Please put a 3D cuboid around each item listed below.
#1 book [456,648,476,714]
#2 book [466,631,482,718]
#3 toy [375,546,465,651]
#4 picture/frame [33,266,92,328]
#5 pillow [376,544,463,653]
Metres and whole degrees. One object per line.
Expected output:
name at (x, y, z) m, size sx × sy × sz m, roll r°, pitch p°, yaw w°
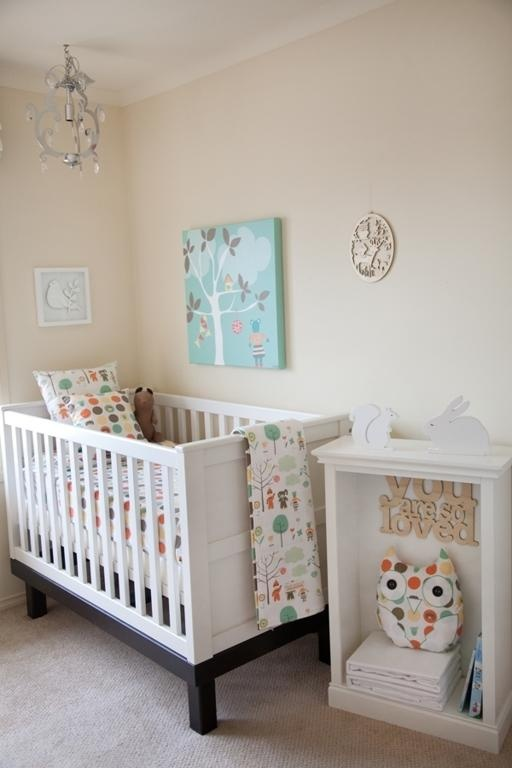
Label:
book at (0.578, 0.822, 1.701) m, size 0.053 × 0.164 × 0.163 m, roll 6°, pitch 7°, yaw 19°
book at (0.575, 0.757, 1.629) m, size 0.042 × 0.224 × 0.101 m, roll -3°, pitch 2°, yaw 16°
toy at (0.492, 0.637, 1.823) m, size 0.305 × 0.341 × 0.132 m, roll -3°, pitch -3°, yaw 40°
picture/frame at (-0.928, -0.411, 2.910) m, size 0.031 × 0.277 × 0.285 m, roll 8°, pitch 12°, yaw 42°
pillow at (0.489, 0.639, 1.823) m, size 0.309 × 0.345 × 0.134 m, roll -3°, pitch -3°, yaw 39°
